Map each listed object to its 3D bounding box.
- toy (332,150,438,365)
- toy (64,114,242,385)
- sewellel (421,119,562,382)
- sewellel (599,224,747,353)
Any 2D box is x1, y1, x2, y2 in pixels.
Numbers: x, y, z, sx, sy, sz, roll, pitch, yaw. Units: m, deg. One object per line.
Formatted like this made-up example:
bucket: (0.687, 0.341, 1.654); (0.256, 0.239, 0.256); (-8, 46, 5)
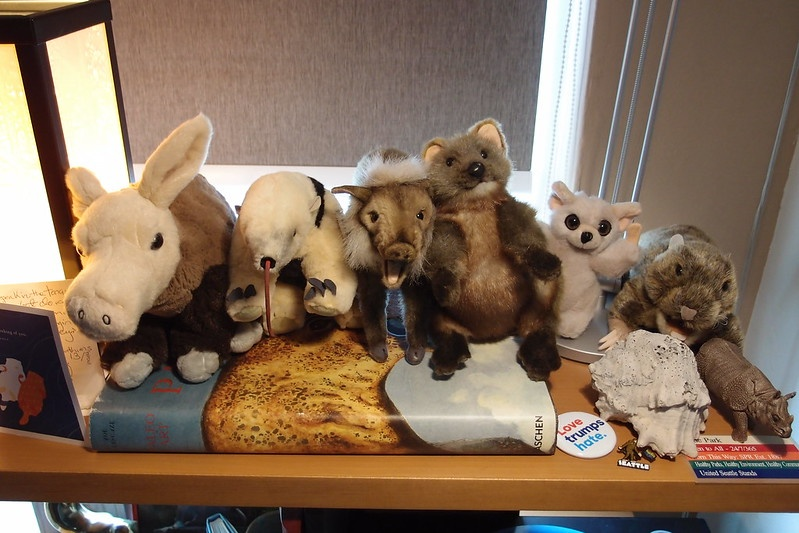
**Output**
toy: (0.057, -0.044, 1.154); (0.159, 0.377, 0.425); (-4, 17, -1)
toy: (-0.468, -0.028, 1.236); (0.335, 0.486, 0.489); (-1, 14, 1)
sewellel: (0.164, -0.054, 1.331); (0.377, 0.448, 0.556); (-1, 23, -2)
sewellel: (0.633, 0.036, 1.425); (0.290, 0.248, 0.500); (15, 17, 21)
